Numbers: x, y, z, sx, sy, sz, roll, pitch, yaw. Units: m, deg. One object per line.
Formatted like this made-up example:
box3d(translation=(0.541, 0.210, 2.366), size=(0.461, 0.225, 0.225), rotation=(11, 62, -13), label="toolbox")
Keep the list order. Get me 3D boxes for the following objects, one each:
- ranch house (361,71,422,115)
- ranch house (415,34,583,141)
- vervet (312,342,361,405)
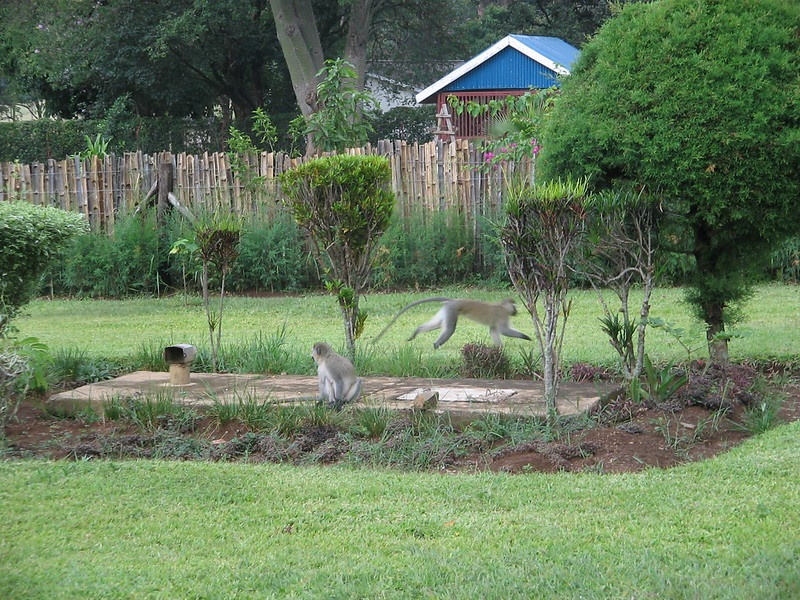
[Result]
box3d(translation=(-0.260, -7.233, 39.966), size=(1.802, 1.006, 5.151), rotation=(-3, 2, -1), label="ranch house")
box3d(translation=(3.428, -5.649, 33.430), size=(4.853, 3.191, 5.878), rotation=(5, 0, 18), label="ranch house")
box3d(translation=(-0.631, 0.748, 10.766), size=(0.497, 0.694, 0.431), rotation=(-2, -19, 23), label="vervet")
